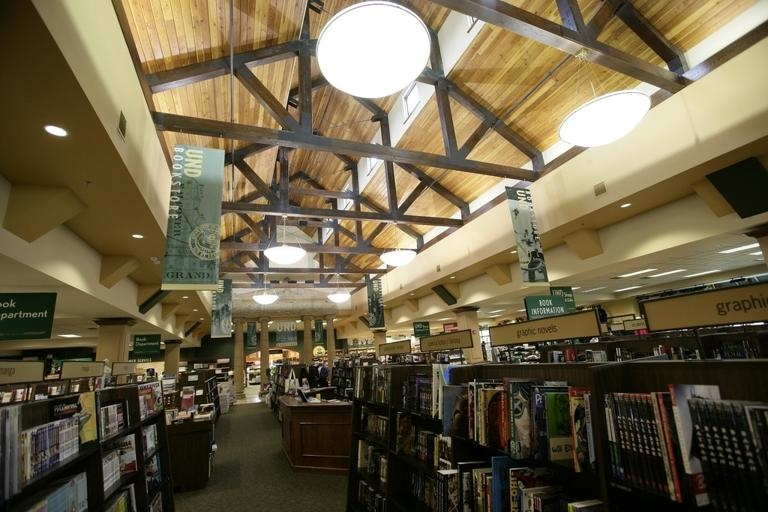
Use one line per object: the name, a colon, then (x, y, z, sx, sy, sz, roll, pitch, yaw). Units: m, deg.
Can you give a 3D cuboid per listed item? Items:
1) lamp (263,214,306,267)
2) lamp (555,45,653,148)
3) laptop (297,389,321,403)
lamp: (-2.509, -0.414, 12.318, 0.982, 1.391, 0.995, -18, -26, 26)
lamp: (3.508, -2.522, 7.641, 1.076, 1.287, 1.089, 5, -28, -8)
laptop: (-1.550, 2.940, 10.029, 0.354, 0.269, 0.428, -2, -10, -17)
